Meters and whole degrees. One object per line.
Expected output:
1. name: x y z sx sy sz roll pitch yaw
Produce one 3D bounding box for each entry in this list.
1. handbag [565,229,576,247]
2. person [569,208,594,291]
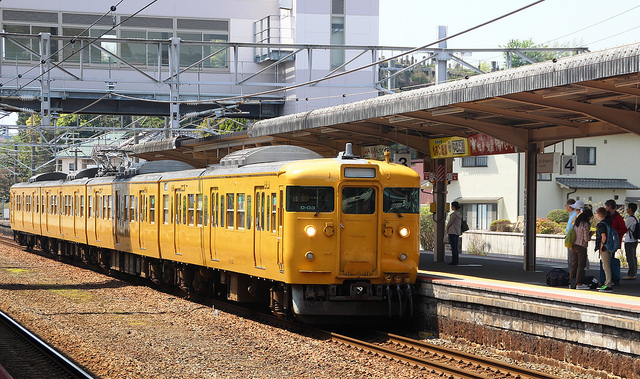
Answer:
1. handbag: 6.752 1.301 19.598 0.295 0.502 0.458 12 -10 25
2. person: 6.975 1.645 19.566 0.500 2.091 0.850 0 10 21
